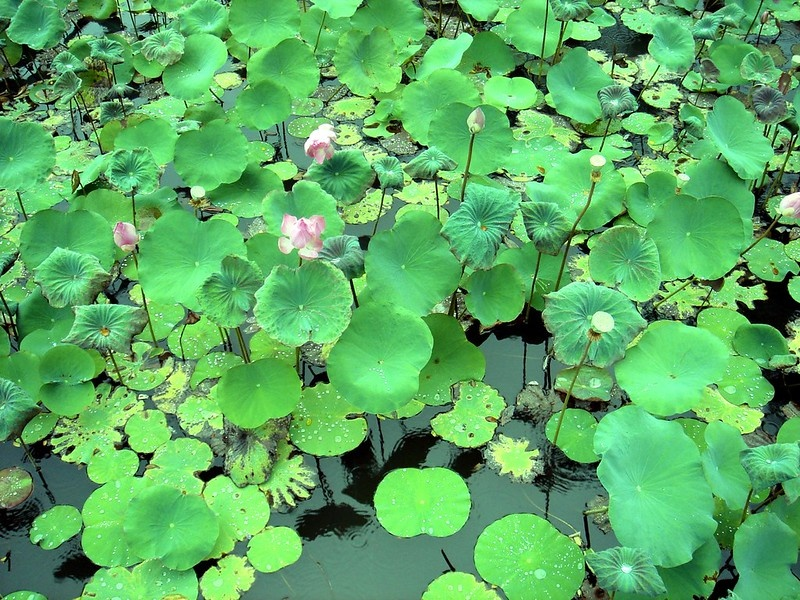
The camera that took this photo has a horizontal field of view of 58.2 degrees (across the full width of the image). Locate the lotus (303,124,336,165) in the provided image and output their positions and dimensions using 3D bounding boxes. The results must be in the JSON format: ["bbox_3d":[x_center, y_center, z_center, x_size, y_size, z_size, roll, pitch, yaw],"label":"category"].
[{"bbox_3d":[-0.577,-1.111,5.166,0.193,0.287,0.225,-3,54,-2],"label":"lotus"}]

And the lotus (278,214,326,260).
[{"bbox_3d":[-0.618,-0.418,4.707,0.246,0.308,0.200,7,92,-33],"label":"lotus"}]

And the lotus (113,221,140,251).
[{"bbox_3d":[-1.928,-0.434,5.020,0.123,0.174,0.135,-34,82,-20],"label":"lotus"}]
